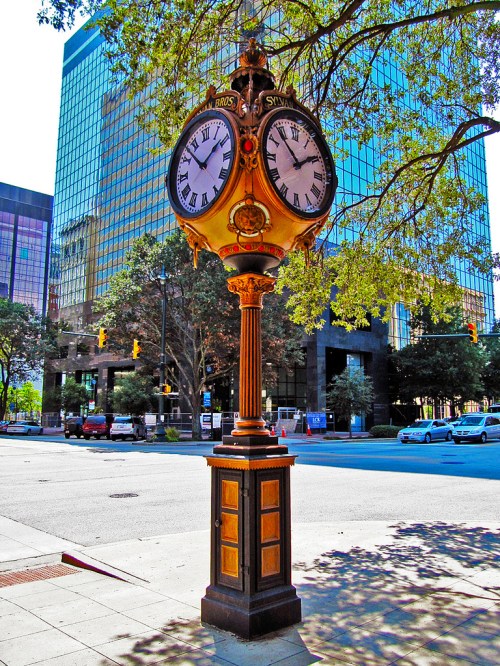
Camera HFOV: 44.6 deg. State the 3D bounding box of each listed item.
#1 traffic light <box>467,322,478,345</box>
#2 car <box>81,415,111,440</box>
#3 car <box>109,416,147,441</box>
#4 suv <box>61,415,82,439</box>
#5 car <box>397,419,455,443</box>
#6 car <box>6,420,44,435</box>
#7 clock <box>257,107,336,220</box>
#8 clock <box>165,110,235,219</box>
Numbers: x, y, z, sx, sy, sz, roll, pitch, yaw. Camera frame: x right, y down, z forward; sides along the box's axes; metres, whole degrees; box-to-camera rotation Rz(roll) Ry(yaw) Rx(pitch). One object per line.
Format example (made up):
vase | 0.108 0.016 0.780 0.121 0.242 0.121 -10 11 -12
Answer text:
traffic light | 10.746 -0.022 29.428 0.318 0.874 2.635 -5 -2 19
car | -9.637 5.923 39.106 1.248 1.156 2.417 0 -1 -4
car | -7.438 5.913 37.760 1.259 1.085 2.573 -1 -3 4
suv | -11.938 6.385 41.549 1.079 0.952 1.857 1 -3 -8
car | 9.493 5.449 32.782 1.176 1.131 4.179 -6 -3 41
car | -17.870 7.533 48.534 1.057 0.777 2.466 -1 -19 0
clock | 0.360 -1.294 4.759 0.091 0.898 0.940 -7 -1 39
clock | -0.371 -1.293 4.763 0.067 0.895 0.897 8 -8 -40
